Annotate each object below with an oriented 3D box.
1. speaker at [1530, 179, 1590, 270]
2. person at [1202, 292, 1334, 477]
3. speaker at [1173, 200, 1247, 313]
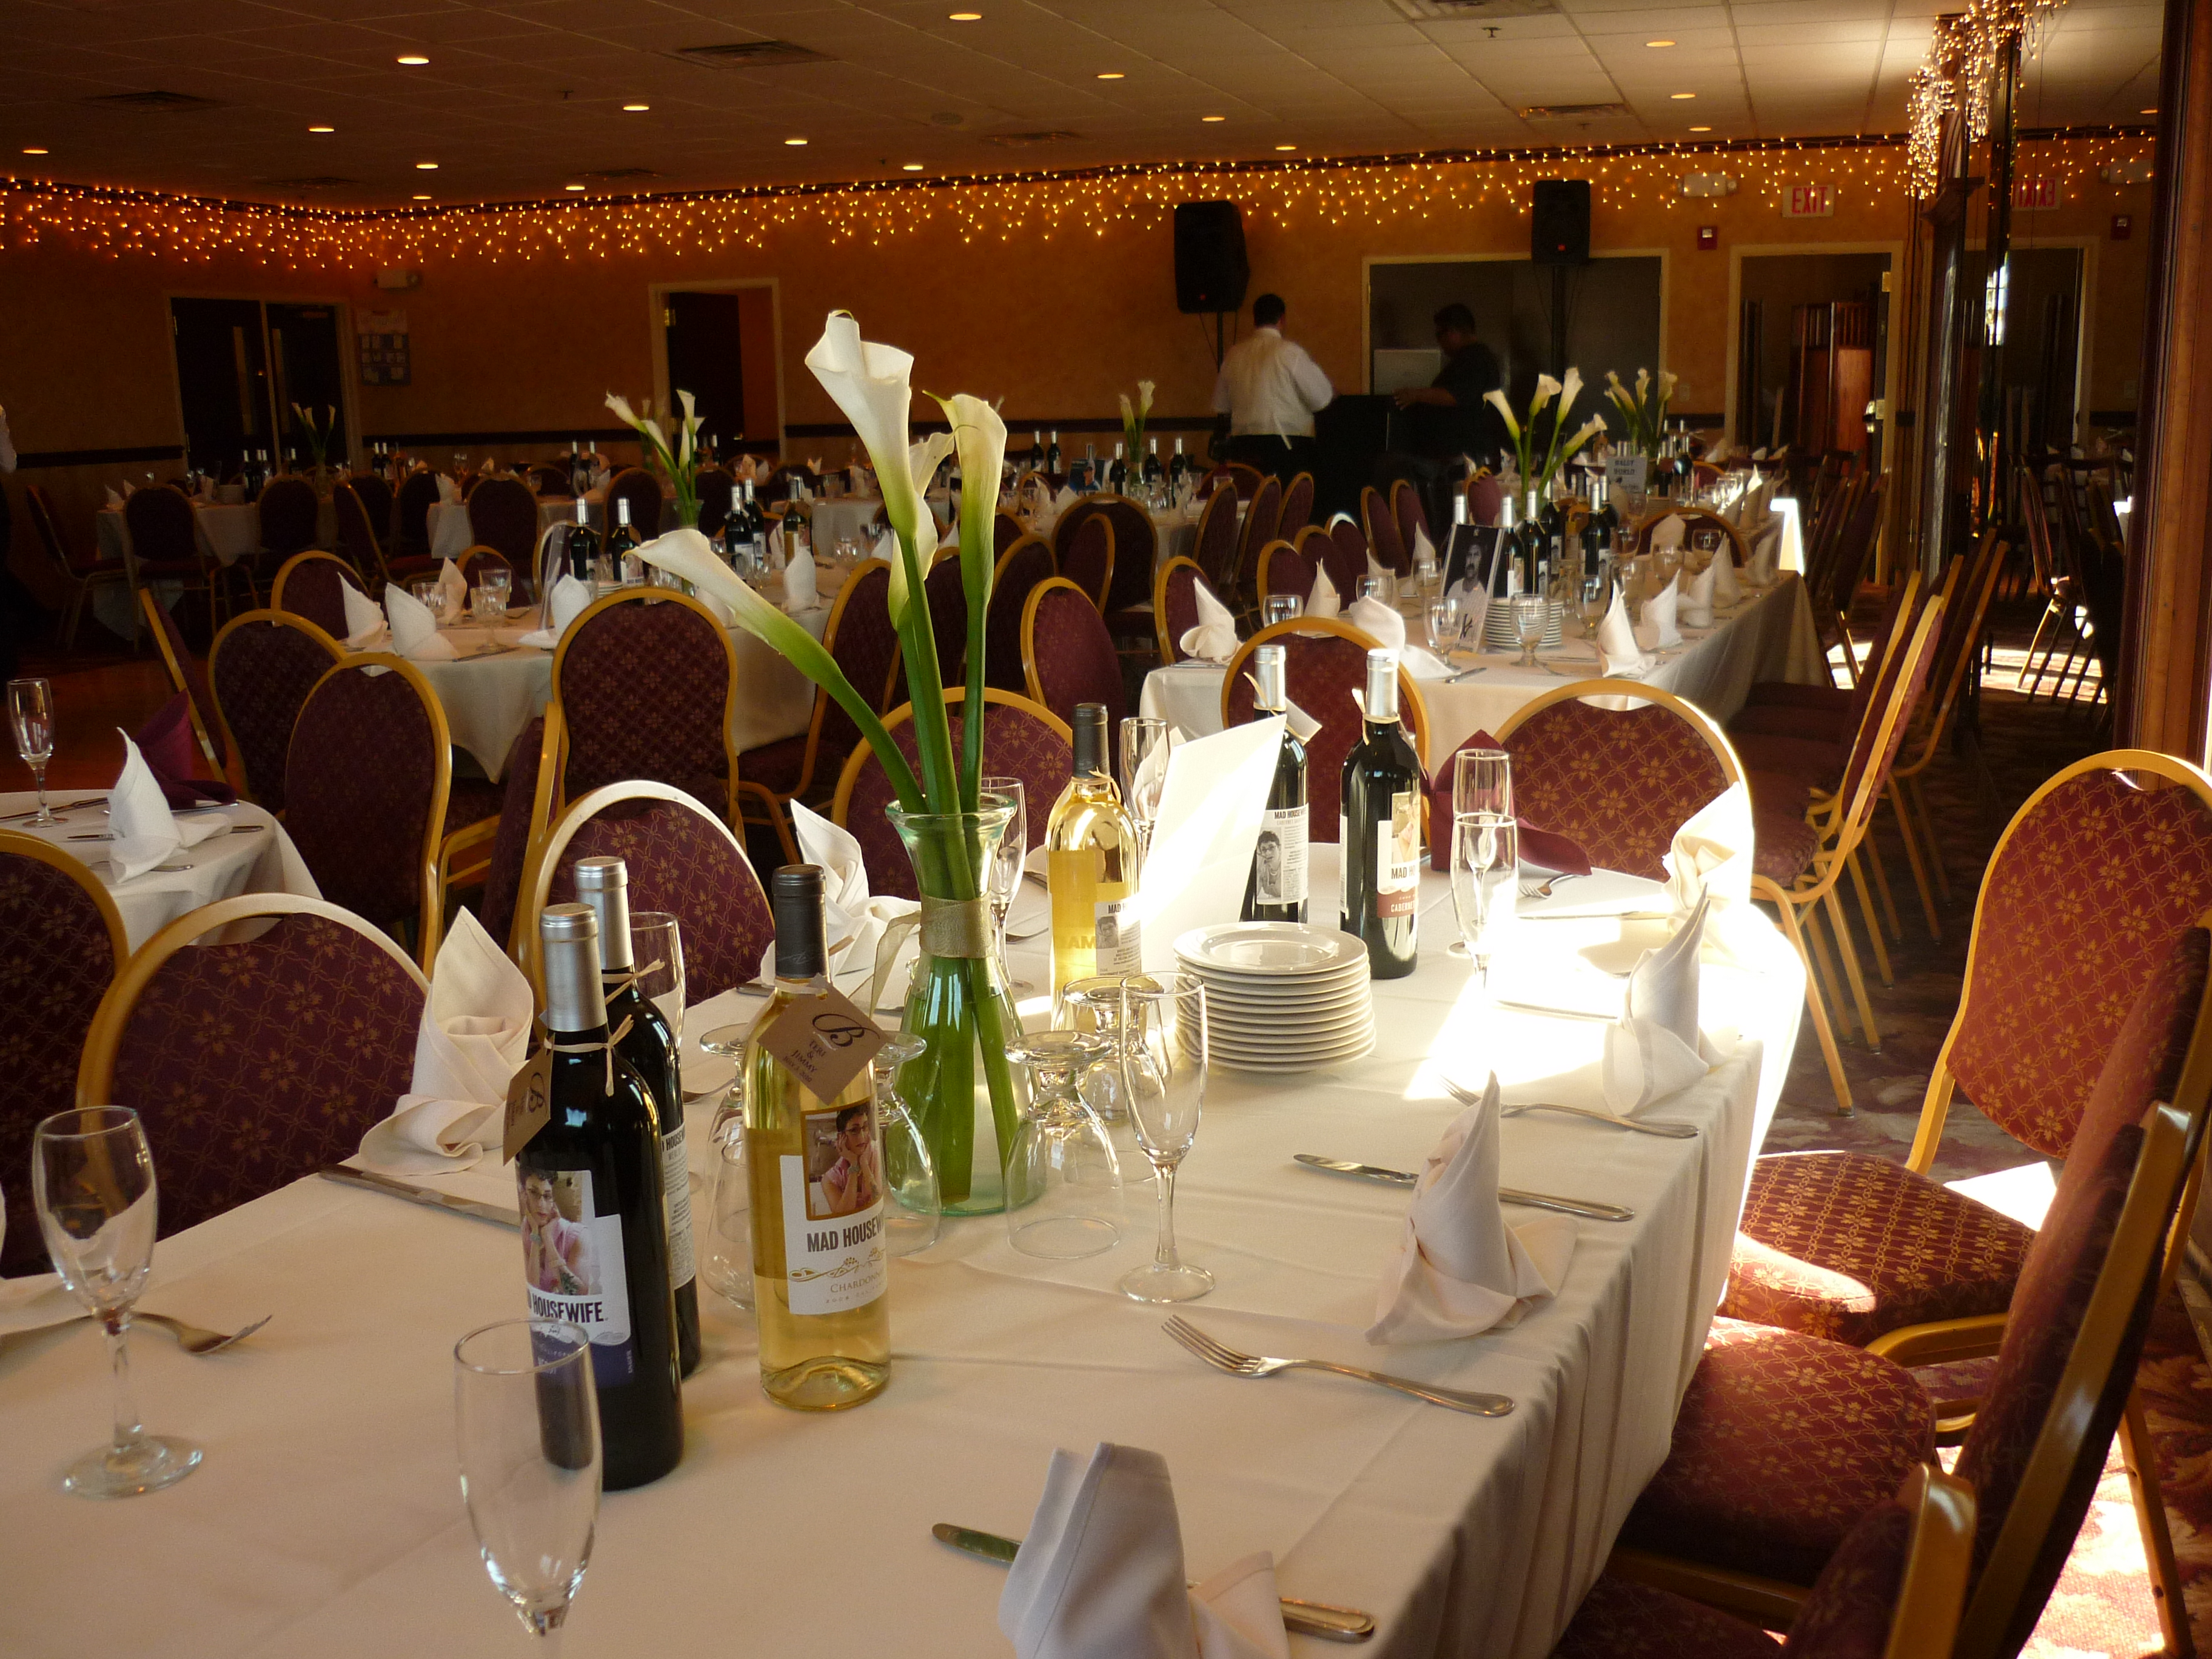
[{"bbox_3d":[3.682,-4.869,13.060,0.495,0.944,0.426,1,16,9],"label":"speaker"},{"bbox_3d":[1.290,-3.244,12.328,0.877,1.587,0.690,4,6,44],"label":"person"},{"bbox_3d":[0.899,-4.801,13.642,0.603,0.901,0.636,0,13,4],"label":"speaker"}]
